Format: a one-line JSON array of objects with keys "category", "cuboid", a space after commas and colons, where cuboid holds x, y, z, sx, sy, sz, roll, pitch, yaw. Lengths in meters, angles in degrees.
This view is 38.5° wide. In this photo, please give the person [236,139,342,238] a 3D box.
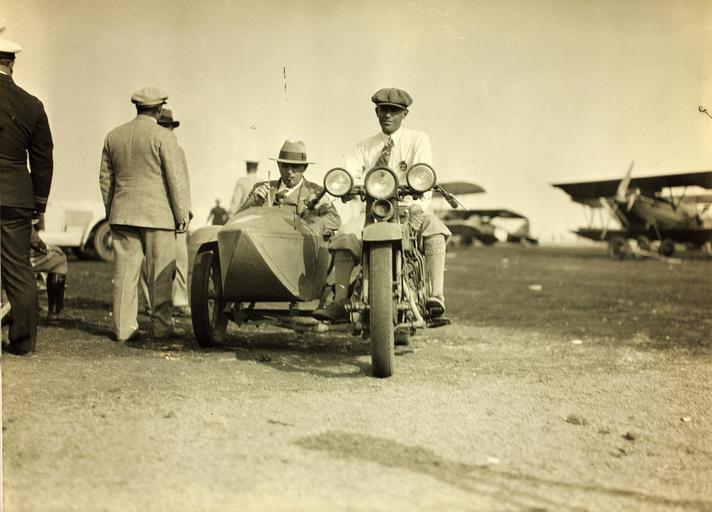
[{"category": "person", "cuboid": [-0.727, -0.392, 10.709, 0.819, 1.588, 0.780, 1, -7, 0]}]

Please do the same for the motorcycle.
[{"category": "motorcycle", "cuboid": [0.067, 0.067, 10.333, 1.654, 1.354, 2.424, 1, 2, 20]}]

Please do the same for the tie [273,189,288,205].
[{"category": "tie", "cuboid": [-0.797, -0.612, 10.680, 0.126, 0.156, 0.043, 14, -3, 27]}]

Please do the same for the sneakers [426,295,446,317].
[{"category": "sneakers", "cuboid": [0.743, 0.465, 9.582, 0.192, 0.204, 0.148, -13, 11, -38]}]

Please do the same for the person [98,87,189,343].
[{"category": "person", "cuboid": [-2.138, -0.427, 10.466, 0.909, 2.506, 0.673, -1, 13, -20]}]

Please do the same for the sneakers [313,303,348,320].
[{"category": "sneakers", "cuboid": [-0.239, 0.502, 9.517, 0.327, 0.204, 0.154, 3, 13, -1]}]
